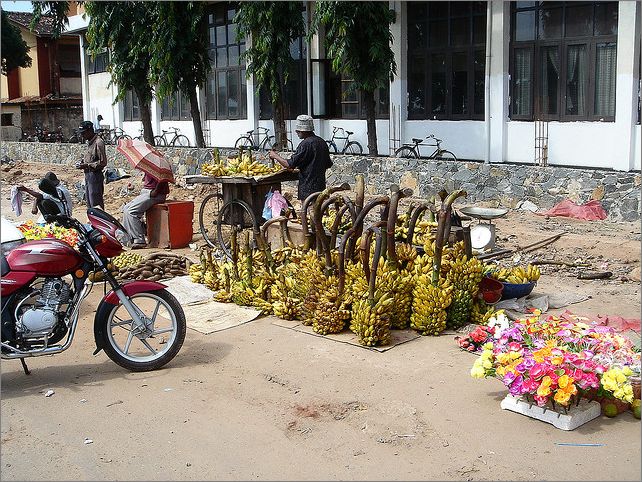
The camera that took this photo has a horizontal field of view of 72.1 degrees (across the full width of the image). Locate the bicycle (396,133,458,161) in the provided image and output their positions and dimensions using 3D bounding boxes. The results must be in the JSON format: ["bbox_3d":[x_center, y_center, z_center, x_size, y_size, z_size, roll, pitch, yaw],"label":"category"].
[{"bbox_3d":[3.557,-3.230,15.160,1.852,0.795,1.052,10,17,43],"label":"bicycle"}]

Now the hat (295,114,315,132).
[{"bbox_3d":[-0.290,-1.938,7.379,0.274,0.239,0.296,-2,23,-11],"label":"hat"}]

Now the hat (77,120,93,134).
[{"bbox_3d":[-5.057,-2.392,9.458,0.349,0.210,0.275,-6,35,-23],"label":"hat"}]

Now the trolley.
[{"bbox_3d":[-1.400,-0.483,8.201,1.631,1.303,1.444,12,15,38],"label":"trolley"}]

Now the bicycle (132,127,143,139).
[{"bbox_3d":[-10.657,-6.158,25.514,0.497,0.642,2.397,-7,14,-22],"label":"bicycle"}]
